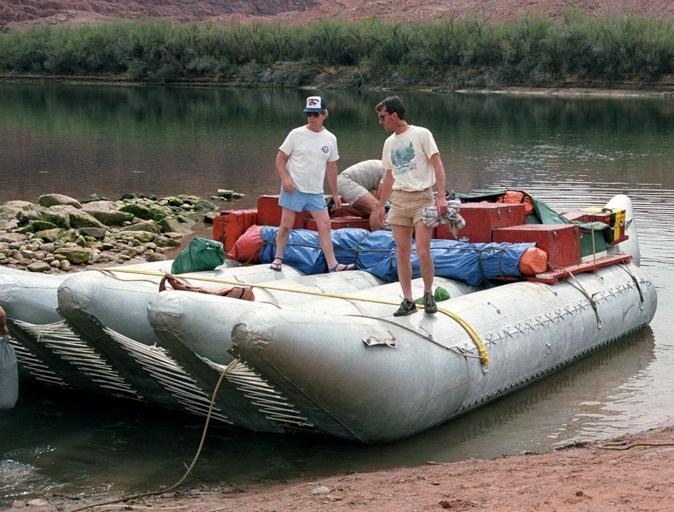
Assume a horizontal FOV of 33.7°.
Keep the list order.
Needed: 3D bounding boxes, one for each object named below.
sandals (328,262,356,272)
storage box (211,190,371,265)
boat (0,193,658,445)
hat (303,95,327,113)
[{"bbox_3d":[0.093,0.181,17.515,0.464,0.133,0.140,-10,10,-5],"label":"sandals"},{"bbox_3d":[-0.908,-0.423,18.854,1.836,0.654,1.717,4,-2,-35],"label":"storage box"},{"bbox_3d":[0.634,0.759,16.394,10.074,3.095,3.651,-6,6,-26],"label":"boat"},{"bbox_3d":[-0.318,-2.329,17.348,0.299,0.167,0.386,5,8,12],"label":"hat"}]
